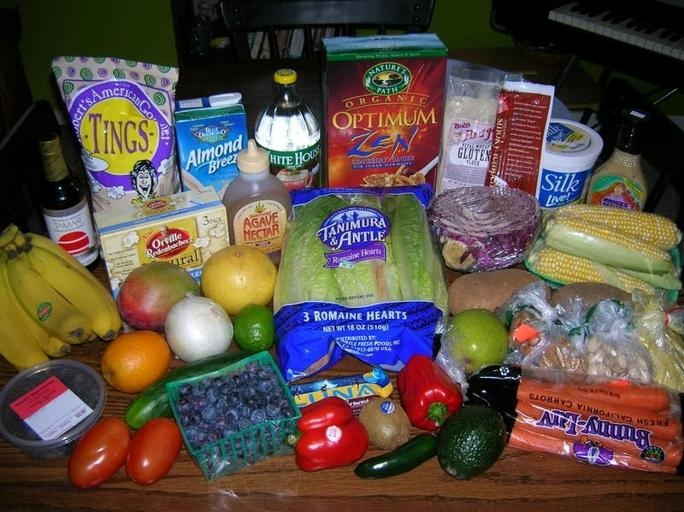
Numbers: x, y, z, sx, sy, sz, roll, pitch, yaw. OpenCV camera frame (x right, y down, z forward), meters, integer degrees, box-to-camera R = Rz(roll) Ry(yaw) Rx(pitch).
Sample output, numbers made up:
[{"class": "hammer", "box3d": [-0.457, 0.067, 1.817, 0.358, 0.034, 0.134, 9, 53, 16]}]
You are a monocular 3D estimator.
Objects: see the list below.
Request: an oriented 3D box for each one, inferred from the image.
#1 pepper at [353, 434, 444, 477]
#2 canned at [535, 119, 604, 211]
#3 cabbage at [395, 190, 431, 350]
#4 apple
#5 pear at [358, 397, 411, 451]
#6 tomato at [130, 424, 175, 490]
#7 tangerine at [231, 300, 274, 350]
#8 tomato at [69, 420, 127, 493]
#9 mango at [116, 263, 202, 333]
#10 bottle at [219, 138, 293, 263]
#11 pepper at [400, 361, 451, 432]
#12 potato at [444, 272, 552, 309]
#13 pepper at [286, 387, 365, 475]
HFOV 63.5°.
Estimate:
[{"class": "pepper", "box3d": [0.140, 0.486, 1.378, 0.220, 0.070, 0.083, -16, 29, -16]}, {"class": "canned", "box3d": [0.714, -0.290, 1.808, 0.189, 0.208, 0.197, 20, 48, 20]}, {"class": "cabbage", "box3d": [0.209, 0.019, 1.606, 0.104, 0.120, 0.400, 18, 56, -31]}, {"class": "apple", "box3d": [0.367, 0.230, 1.501, 0.189, 0.123, 0.147, -6, 43, -8]}, {"class": "pear", "box3d": [0.107, 0.419, 1.397, 0.102, 0.102, 0.131, -14, 45, -25]}, {"class": "tomato", "box3d": [-0.443, 0.462, 1.311, 0.084, 0.099, 0.139, 30, 47, -21]}, {"class": "tangerine", "box3d": [-0.234, 0.199, 1.492, 0.105, 0.077, 0.101, 2, 42, 1]}, {"class": "tomato", "box3d": [-0.559, 0.473, 1.356, 0.099, 0.099, 0.163, 34, 55, 4]}, {"class": "mango", "box3d": [-0.518, 0.125, 1.568, 0.213, 0.179, 0.167, 0, 27, 6]}, {"class": "bottle", "box3d": [-0.258, -0.156, 1.671, 0.195, 0.390, 0.125, -13, 38, -22]}, {"class": "pepper", "box3d": [0.215, 0.358, 1.448, 0.142, 0.115, 0.152, 8, 43, 7]}, {"class": "potato", "box3d": [0.441, 0.081, 1.600, 0.229, 0.078, 0.120, -15, 56, -6]}, {"class": "pepper", "box3d": [-0.026, 0.431, 1.368, 0.183, 0.114, 0.150, -5, 43, -7]}]
